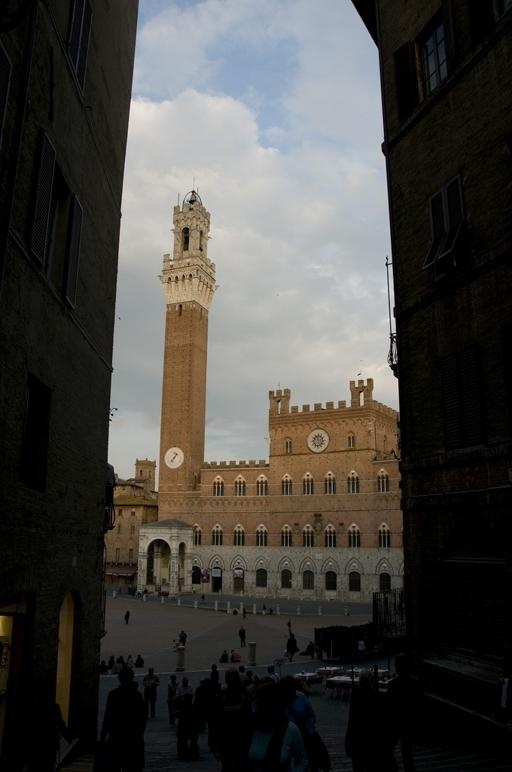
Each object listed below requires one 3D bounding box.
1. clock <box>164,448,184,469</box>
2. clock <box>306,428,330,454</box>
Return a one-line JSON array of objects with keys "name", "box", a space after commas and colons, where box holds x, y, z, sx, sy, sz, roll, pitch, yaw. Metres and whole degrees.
[{"name": "clock", "box": [-7.132, 6.340, 67.240, 2.191, 2.110, 0.404, -12, -18, 39]}, {"name": "clock", "box": [4.836, 4.242, 58.591, 0.199, 1.644, 1.386, 14, -29, -40]}]
